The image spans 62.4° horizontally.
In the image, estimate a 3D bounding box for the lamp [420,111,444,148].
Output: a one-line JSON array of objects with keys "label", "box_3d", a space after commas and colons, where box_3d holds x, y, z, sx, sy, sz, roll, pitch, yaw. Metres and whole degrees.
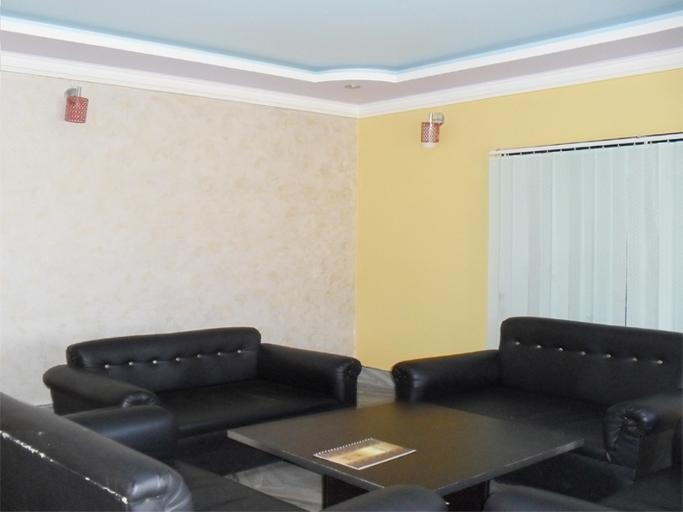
[{"label": "lamp", "box_3d": [0.902, -1.254, 5.590, 0.246, 0.374, 0.180, 4, -9, -10]}]

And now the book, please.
[{"label": "book", "box_3d": [0.125, 1.020, 2.912, 0.471, 0.030, 0.315, 1, 5, -42]}]

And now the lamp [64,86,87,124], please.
[{"label": "lamp", "box_3d": [-2.187, -1.248, 4.634, 0.192, 0.277, 0.122, 5, 5, -2]}]
